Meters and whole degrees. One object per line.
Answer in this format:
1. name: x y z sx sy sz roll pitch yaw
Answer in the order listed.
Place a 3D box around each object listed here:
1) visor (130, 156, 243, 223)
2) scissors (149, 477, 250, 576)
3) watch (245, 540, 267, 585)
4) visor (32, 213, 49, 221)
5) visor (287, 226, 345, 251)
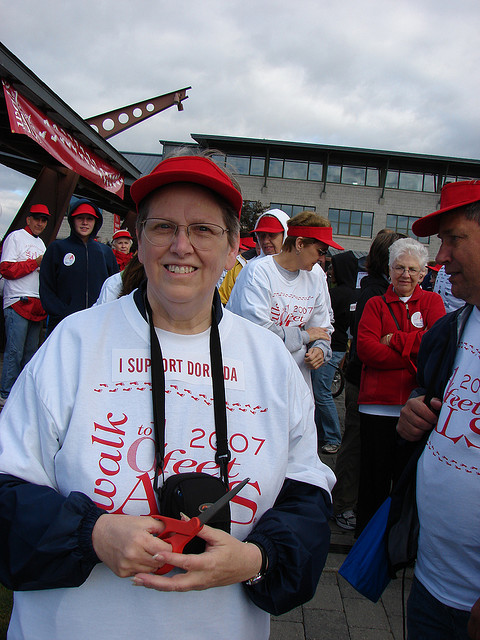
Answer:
1. visor: -0.151 -0.389 1.503 0.321 0.166 0.214 3 7 -2
2. scissors: -0.076 0.460 1.224 0.242 0.107 0.124 0 7 -22
3. watch: 0.055 0.636 1.354 0.038 0.092 0.098 12 -28 -20
4. visor: -2.441 -1.273 6.421 0.089 0.057 0.137 9 3 -30
5. visor: 0.517 -0.597 3.698 0.251 0.079 0.167 13 8 2
